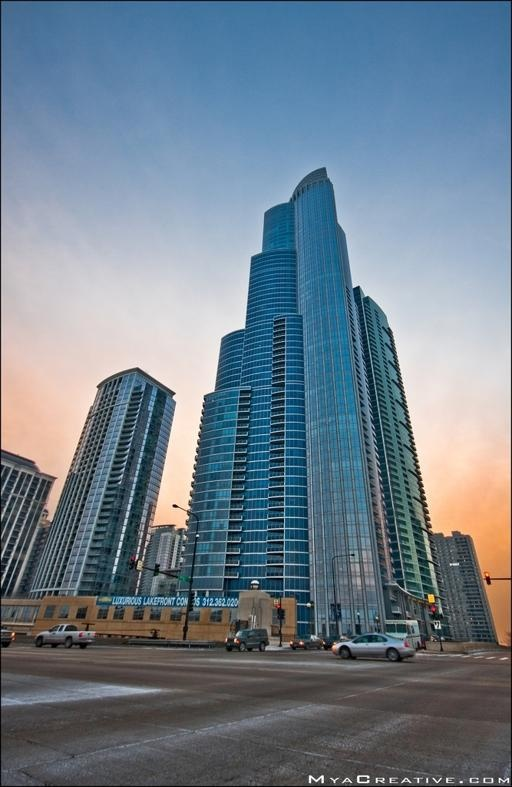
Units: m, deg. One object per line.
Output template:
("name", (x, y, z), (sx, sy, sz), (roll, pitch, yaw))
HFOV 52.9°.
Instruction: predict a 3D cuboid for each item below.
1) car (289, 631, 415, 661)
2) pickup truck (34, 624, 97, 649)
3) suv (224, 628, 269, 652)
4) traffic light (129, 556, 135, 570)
("car", (4.697, 10.195, 20.660), (2.265, 1.053, 2.580), (6, -28, -7))
("pickup truck", (-10.419, 13.251, 28.049), (2.513, 1.201, 2.779), (19, -32, -29))
("suv", (-0.342, 13.562, 28.272), (1.201, 1.218, 2.531), (-19, -35, 35))
("traffic light", (-7.557, 10.470, 31.687), (0.424, 0.744, 0.798), (9, -29, -11))
